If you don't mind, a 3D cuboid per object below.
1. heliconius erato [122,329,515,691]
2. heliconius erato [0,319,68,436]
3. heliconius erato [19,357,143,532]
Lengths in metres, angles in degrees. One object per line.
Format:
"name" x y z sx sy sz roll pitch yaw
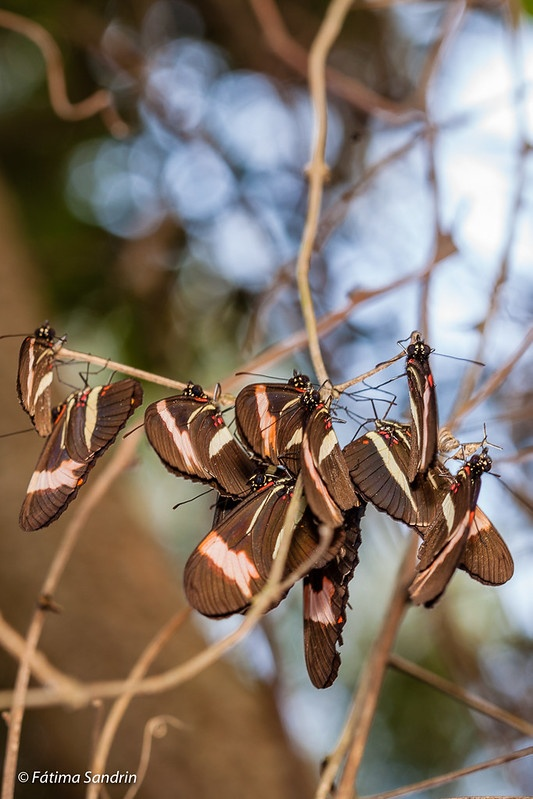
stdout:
"heliconius erato" 0.070 0.122 1.139 0.519 0.497 0.245 -6 -29 10
"heliconius erato" -0.340 -0.036 1.220 0.090 0.128 0.156 0 -1 -30
"heliconius erato" -0.251 0.069 1.132 0.192 0.200 0.043 -16 -36 42
